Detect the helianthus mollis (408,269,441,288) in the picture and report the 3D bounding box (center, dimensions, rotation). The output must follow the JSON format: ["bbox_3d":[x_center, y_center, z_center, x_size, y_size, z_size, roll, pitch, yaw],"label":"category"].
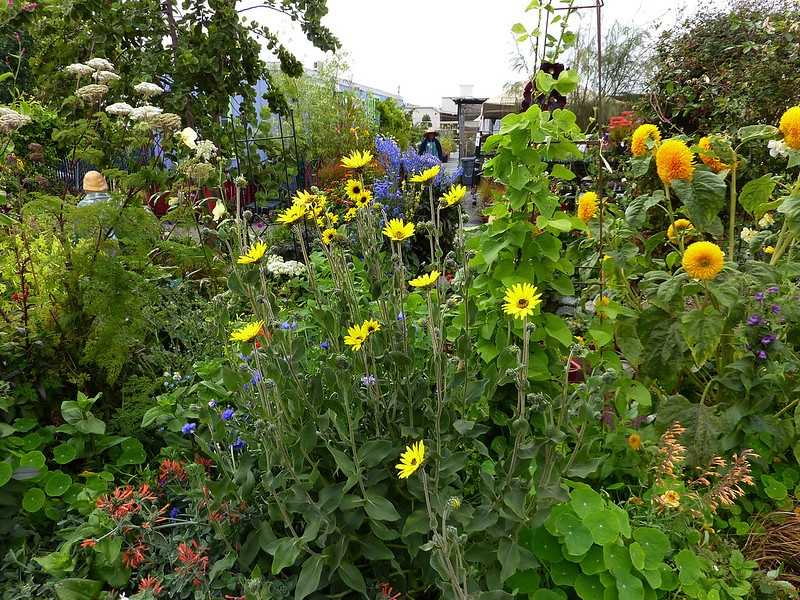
[{"bbox_3d":[0.111,-0.105,2.628,0.125,0.053,0.132,-10,27,16],"label":"helianthus mollis"}]

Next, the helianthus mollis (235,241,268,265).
[{"bbox_3d":[-0.558,-0.182,2.107,0.102,0.108,0.045,6,-29,46],"label":"helianthus mollis"}]

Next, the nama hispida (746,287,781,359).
[{"bbox_3d":[1.701,0.108,2.575,0.123,0.351,0.092,11,13,34],"label":"nama hispida"}]

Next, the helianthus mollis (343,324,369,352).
[{"bbox_3d":[-0.180,0.138,2.130,0.103,0.106,0.049,25,4,23],"label":"helianthus mollis"}]

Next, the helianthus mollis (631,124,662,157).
[{"bbox_3d":[1.270,-0.833,2.891,0.150,0.174,0.170,2,13,13],"label":"helianthus mollis"}]

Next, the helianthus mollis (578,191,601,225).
[{"bbox_3d":[1.013,-0.499,3.018,0.137,0.199,0.134,2,4,5],"label":"helianthus mollis"}]

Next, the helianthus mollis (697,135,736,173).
[{"bbox_3d":[1.642,-0.751,2.859,0.162,0.182,0.364,10,13,29],"label":"helianthus mollis"}]

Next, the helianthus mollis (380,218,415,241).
[{"bbox_3d":[-0.021,-0.267,2.231,0.109,0.117,0.045,15,-28,10],"label":"helianthus mollis"}]

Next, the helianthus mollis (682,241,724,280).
[{"bbox_3d":[1.411,-0.183,2.571,0.165,0.188,0.184,8,12,22],"label":"helianthus mollis"}]

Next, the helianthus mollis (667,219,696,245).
[{"bbox_3d":[1.496,-0.365,2.923,0.140,0.154,0.061,-20,-12,38],"label":"helianthus mollis"}]

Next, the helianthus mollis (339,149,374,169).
[{"bbox_3d":[-0.176,-0.592,2.355,0.095,0.098,0.039,34,-20,38],"label":"helianthus mollis"}]
